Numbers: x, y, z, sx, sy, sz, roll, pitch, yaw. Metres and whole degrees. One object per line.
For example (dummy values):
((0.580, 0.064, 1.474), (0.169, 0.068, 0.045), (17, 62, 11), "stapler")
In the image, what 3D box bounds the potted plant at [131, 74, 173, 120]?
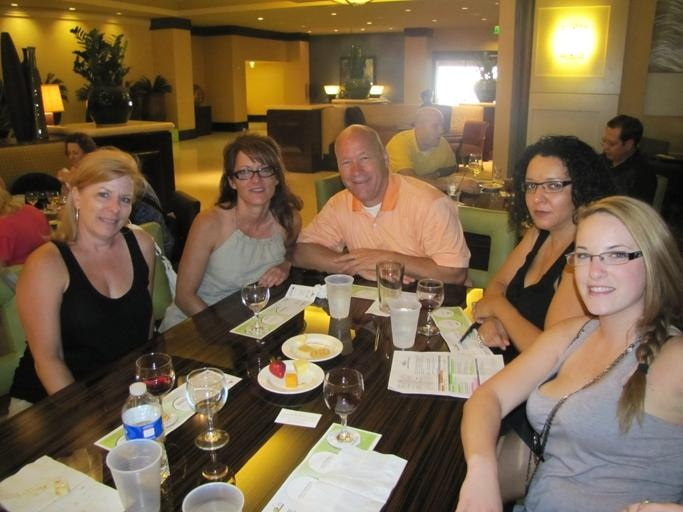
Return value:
((-4.840, -4.014, 12.846), (1.062, 1.139, 0.640), (-12, 19, -32), "potted plant")

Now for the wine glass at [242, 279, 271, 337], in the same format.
((-0.347, 0.224, 2.049), (0.130, 0.226, 0.137), (-2, 42, -5), "wine glass")

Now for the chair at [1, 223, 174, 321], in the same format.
((-1.227, 0.160, 2.558), (0.552, 0.568, 0.588), (6, 10, 17), "chair")

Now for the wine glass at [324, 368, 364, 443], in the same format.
((0.011, 0.454, 1.503), (0.129, 0.197, 0.122), (1, 7, 7), "wine glass")

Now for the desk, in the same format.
((-2.703, -1.393, 6.115), (1.107, 0.847, 1.130), (4, 13, 17), "desk")

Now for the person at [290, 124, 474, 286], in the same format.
((0.201, -0.243, 2.916), (1.143, 0.928, 0.614), (3, 16, 35), "person")

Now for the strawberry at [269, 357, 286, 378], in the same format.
((-0.213, 0.379, 1.716), (0.050, 0.063, 0.054), (-32, -14, 39), "strawberry")

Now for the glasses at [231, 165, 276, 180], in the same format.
((-0.452, -0.422, 2.579), (0.212, 0.069, 0.076), (-5, 16, -12), "glasses")

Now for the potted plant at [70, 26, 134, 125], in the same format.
((-2.890, -2.197, 6.113), (0.699, 1.066, 0.627), (2, 12, 17), "potted plant")
